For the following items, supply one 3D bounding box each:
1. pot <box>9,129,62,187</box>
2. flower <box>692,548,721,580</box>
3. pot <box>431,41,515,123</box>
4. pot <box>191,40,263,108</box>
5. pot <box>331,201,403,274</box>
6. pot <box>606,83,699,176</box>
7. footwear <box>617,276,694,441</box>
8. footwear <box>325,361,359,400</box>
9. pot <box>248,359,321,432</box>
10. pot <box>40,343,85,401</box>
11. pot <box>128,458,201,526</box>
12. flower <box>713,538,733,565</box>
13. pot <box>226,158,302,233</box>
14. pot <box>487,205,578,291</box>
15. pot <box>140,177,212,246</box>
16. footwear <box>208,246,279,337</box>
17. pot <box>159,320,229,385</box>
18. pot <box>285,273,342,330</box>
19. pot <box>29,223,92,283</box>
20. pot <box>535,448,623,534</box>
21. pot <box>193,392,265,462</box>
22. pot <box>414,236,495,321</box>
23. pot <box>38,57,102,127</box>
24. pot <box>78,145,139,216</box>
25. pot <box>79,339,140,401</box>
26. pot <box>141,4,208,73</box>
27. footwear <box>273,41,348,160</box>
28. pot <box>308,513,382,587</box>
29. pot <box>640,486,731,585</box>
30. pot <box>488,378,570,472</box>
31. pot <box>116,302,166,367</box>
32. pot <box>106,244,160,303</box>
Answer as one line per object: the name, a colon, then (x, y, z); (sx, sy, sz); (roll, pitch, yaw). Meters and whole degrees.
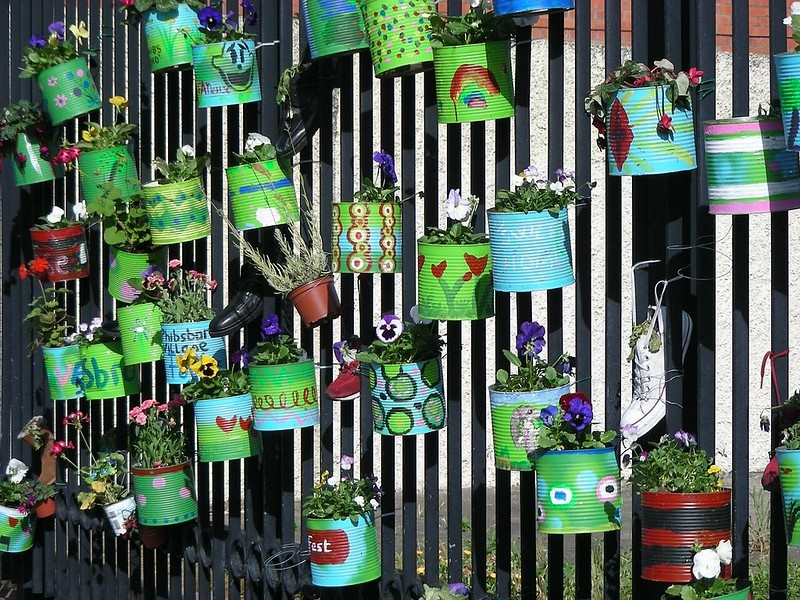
pot: (-1.442, -0.582, 7.261); (0.190, 0.210, 0.199); (-6, 2, 0)
flower: (0.998, 0.869, 5.822); (0.089, 0.093, 0.043); (-36, -1, 9)
pot: (0.281, -0.766, 6.306); (0.280, 0.289, 0.277); (-4, 7, 0)
pot: (-0.621, -0.841, 6.653); (0.245, 0.247, 0.231); (-5, 7, 1)
pot: (-0.121, -0.217, 6.356); (0.251, 0.259, 0.238); (1, 4, 0)
pot: (0.839, -0.566, 6.034); (0.278, 0.300, 0.287); (-5, 3, 0)
footwear: (0.853, 0.201, 6.109); (0.271, 0.575, 0.231); (-4, 5, -11)
footwear: (-0.210, 0.304, 6.486); (0.128, 0.152, 0.098); (-3, 5, -1)
pot: (-0.415, 0.349, 6.439); (0.246, 0.261, 0.253); (-3, -3, 0)
pot: (-1.341, 0.295, 7.156); (0.179, 0.199, 0.185); (-5, 3, 0)
pot: (-0.898, 0.728, 6.775); (0.239, 0.244, 0.222); (-7, -2, 0)
flower: (1.058, 0.828, 5.832); (0.030, 0.069, 0.064); (-3, 13, -11)
pot: (-0.507, -0.367, 6.571); (0.244, 0.259, 0.237); (-8, -7, -1)
pot: (0.450, -0.181, 6.168); (0.277, 0.289, 0.261); (-7, 7, 1)
pot: (-0.874, -0.326, 6.744); (0.273, 0.222, 0.262); (-7, 6, 1)
footwear: (-0.603, 0.001, 6.681); (0.249, 0.272, 0.146); (-4, 5, -8)
pot: (-0.812, 0.195, 6.743); (0.208, 0.226, 0.210); (-4, 2, 0)
pot: (-0.305, 0.014, 6.399); (0.184, 0.134, 0.171); (-24, -14, -6)
pot: (-1.323, -0.188, 7.047); (0.220, 0.237, 0.222); (-2, 8, 0)
pot: (0.606, 0.645, 6.103); (0.287, 0.295, 0.274); (-3, 4, 0)
pot: (-0.658, 0.486, 6.651); (0.234, 0.234, 0.213); (-7, -7, -1)
pot: (0.188, -0.076, 6.285); (0.271, 0.288, 0.272); (-1, 6, 0)
pot: (-1.306, -0.812, 7.026); (0.202, 0.219, 0.209); (-18, 1, 0)
pot: (-1.144, -0.470, 6.992); (0.214, 0.235, 0.224); (-2, 13, 0)
pot: (-1.161, 0.292, 7.065); (0.227, 0.230, 0.213); (-3, -2, 0)
pot: (-0.854, -0.979, 6.690); (0.216, 0.247, 0.106); (0, 6, 32)
footwear: (-0.339, -0.703, 6.581); (0.279, 0.355, 0.113); (-5, 5, -14)
pot: (-0.204, 0.902, 6.455); (0.292, 0.227, 0.264); (-5, -4, -19)
pot: (0.921, 0.764, 5.866); (0.295, 0.318, 0.304); (1, -1, 0)
pot: (0.465, 0.453, 6.178); (0.322, 0.251, 0.274); (-2, -5, 14)
pot: (-0.987, 0.139, 6.809); (0.205, 0.251, 0.188); (-3, 5, 0)
pot: (-0.994, -0.099, 6.901); (0.214, 0.229, 0.204); (1, 5, 0)
